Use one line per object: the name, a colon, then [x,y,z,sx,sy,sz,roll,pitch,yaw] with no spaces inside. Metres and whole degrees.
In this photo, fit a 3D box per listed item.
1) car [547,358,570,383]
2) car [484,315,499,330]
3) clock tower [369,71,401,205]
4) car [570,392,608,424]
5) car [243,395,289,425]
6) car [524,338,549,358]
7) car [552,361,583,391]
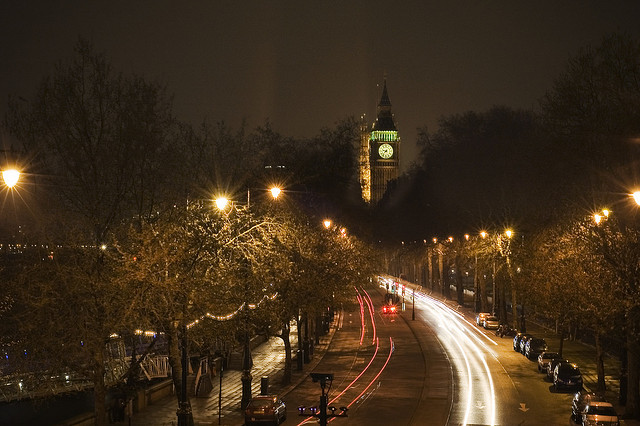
car: [18.532,12.304,52.815,1.175,1.128,2.161,-1,-18,2]
car: [20.654,13.248,80.383,1.462,1.528,2.947,1,-5,5]
clock tower: [30.513,-35.533,321.411,12.857,56.293,30.318,1,-3,5]
car: [16.626,12.161,42.105,1.398,1.351,2.627,0,-12,5]
car: [-3.265,12.055,40.804,2.538,1.667,1.257,4,-5,-29]
car: [19.890,12.503,62.387,1.239,1.186,2.237,-1,-16,-2]
car: [18.363,12.145,50.298,1.336,1.287,2.487,-1,-5,5]
